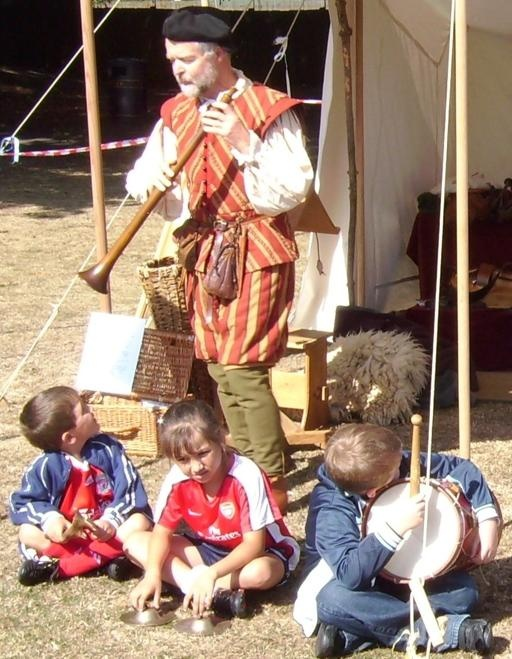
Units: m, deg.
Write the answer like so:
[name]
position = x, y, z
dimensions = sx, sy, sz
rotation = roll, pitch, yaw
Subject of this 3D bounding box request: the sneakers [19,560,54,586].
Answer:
[sneakers]
position = -0.633, 0.701, 2.107
dimensions = 0.060, 0.047, 0.133
rotation = 0, 0, 28

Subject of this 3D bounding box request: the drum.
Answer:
[drum]
position = 0.435, 0.478, 1.837
dimensions = 0.239, 0.239, 0.302
rotation = 9, 13, 38

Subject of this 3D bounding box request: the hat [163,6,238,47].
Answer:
[hat]
position = -0.168, -0.867, 2.080
dimensions = 0.198, 0.121, 0.138
rotation = -1, 11, -6

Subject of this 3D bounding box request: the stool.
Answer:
[stool]
position = 0.162, 0.264, 3.255
dimensions = 0.261, 0.316, 0.257
rotation = -4, 1, -7
